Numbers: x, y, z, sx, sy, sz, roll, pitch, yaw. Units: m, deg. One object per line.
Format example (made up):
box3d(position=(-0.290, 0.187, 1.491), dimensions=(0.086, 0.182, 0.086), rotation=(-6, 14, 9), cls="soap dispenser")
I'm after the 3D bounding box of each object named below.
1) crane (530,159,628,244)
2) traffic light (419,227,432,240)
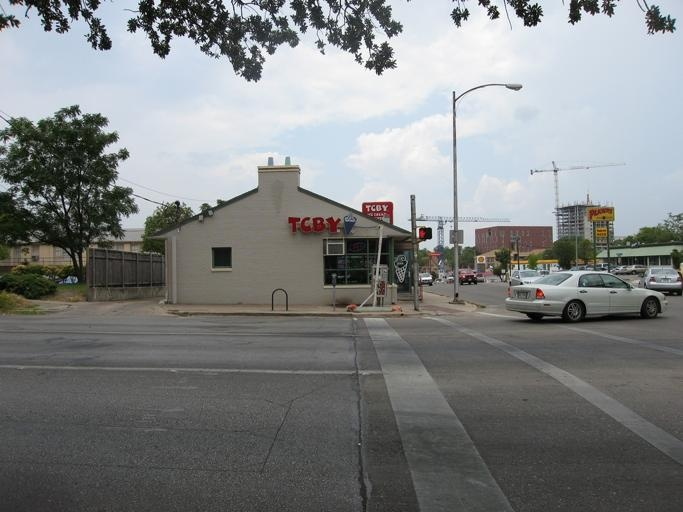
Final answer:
box3d(position=(52.905, -7.475, 139.243), dimensions=(7.063, 25.162, 18.812), rotation=(11, -2, -25), cls="crane")
box3d(position=(3.110, -0.840, 23.478), dimensions=(0.487, 0.460, 0.451), rotation=(1, 5, 3), cls="traffic light")
